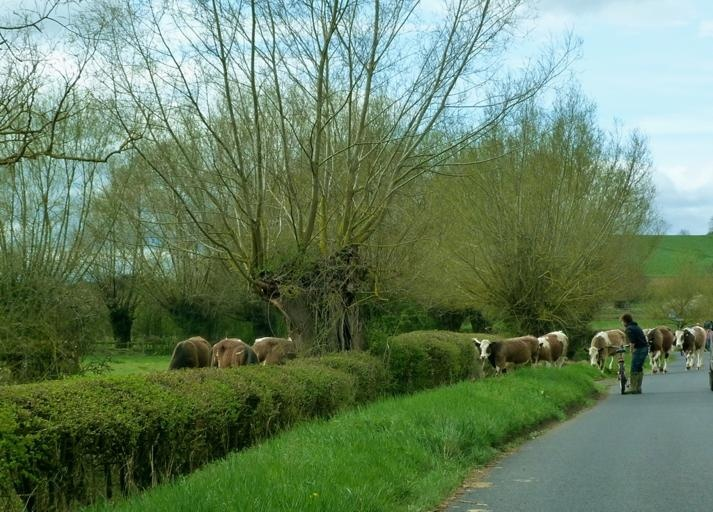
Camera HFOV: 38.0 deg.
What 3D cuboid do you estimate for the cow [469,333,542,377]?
[{"bbox_3d":[5.769,3.780,40.276,2.961,1.683,1.111,8,-13,-35],"label":"cow"}]

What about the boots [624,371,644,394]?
[{"bbox_3d":[9.433,4.280,34.825,0.669,0.917,0.688,5,-5,-14],"label":"boots"}]
